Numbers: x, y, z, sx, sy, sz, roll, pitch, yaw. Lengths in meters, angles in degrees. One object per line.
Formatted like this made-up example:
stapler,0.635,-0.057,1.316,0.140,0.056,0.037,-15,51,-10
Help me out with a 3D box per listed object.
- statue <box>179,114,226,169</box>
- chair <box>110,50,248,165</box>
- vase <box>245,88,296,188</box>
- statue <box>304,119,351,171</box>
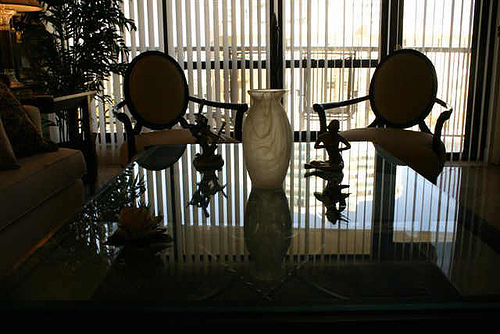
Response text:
statue,-0.260,-0.139,2.361,0.262,0.357,0.179,0,-21,-2
chair,-0.566,-0.533,3.463,0.783,1.088,0.688,-11,20,-35
vase,0.077,-0.135,1.946,0.224,0.433,0.240,-3,9,15
statue,0.397,-0.115,2.136,0.215,0.286,0.202,3,-4,-41
